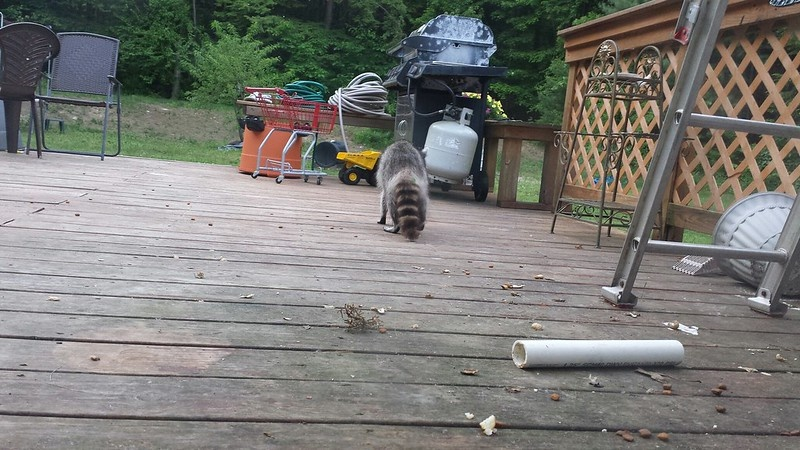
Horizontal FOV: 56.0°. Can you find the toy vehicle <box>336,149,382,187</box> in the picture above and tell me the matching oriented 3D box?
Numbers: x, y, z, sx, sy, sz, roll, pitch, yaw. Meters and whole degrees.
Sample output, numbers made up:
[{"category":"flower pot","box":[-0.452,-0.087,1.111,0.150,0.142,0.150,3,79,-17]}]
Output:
[{"category":"toy vehicle","box":[-0.539,-0.740,9.581,0.704,0.449,0.350,-3,12,-12]}]

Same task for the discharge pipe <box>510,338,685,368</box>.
[{"category":"discharge pipe","box":[1.187,0.782,4.547,1.008,0.143,0.155,1,5,-5]}]
